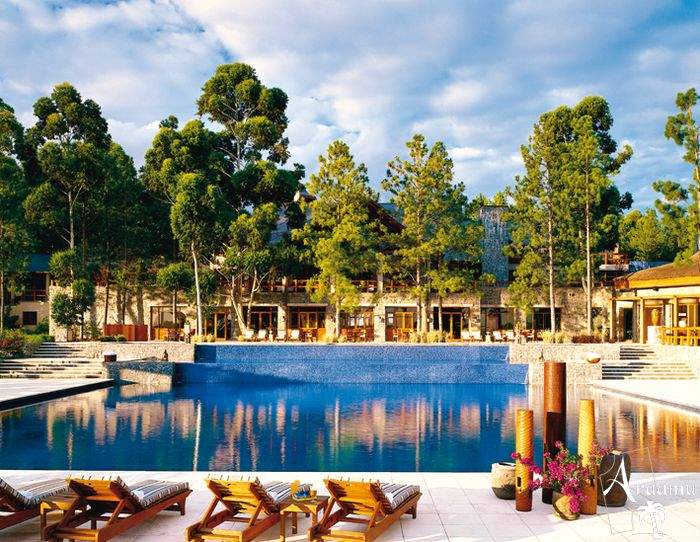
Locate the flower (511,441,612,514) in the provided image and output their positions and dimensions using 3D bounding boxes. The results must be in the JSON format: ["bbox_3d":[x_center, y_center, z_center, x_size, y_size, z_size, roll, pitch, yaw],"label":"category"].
[{"bbox_3d":[5.692,5.488,22.377,2.273,1.847,0.941,-3,-5,17],"label":"flower"}]

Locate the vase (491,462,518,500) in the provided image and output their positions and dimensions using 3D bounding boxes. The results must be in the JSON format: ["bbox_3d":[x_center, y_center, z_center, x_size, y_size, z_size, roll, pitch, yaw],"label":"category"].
[{"bbox_3d":[4.276,5.696,23.189,0.781,0.995,0.873,0,4,-2],"label":"vase"}]

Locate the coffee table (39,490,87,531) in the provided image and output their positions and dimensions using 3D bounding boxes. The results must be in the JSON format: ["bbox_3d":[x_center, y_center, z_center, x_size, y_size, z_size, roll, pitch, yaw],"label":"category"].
[{"bbox_3d":[-7.508,6.420,21.725,0.742,1.054,1.500,0,-1,9],"label":"coffee table"}]

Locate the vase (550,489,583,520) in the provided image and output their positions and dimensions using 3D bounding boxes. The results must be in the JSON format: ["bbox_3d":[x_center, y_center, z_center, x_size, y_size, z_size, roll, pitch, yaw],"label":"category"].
[{"bbox_3d":[5.638,6.125,21.967,0.594,0.611,0.612,2,2,42],"label":"vase"}]

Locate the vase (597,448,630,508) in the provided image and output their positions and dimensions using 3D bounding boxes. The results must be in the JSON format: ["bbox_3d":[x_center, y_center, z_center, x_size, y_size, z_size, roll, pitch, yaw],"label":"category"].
[{"bbox_3d":[7.129,5.560,22.823,0.903,1.563,0.978,2,12,22],"label":"vase"}]
